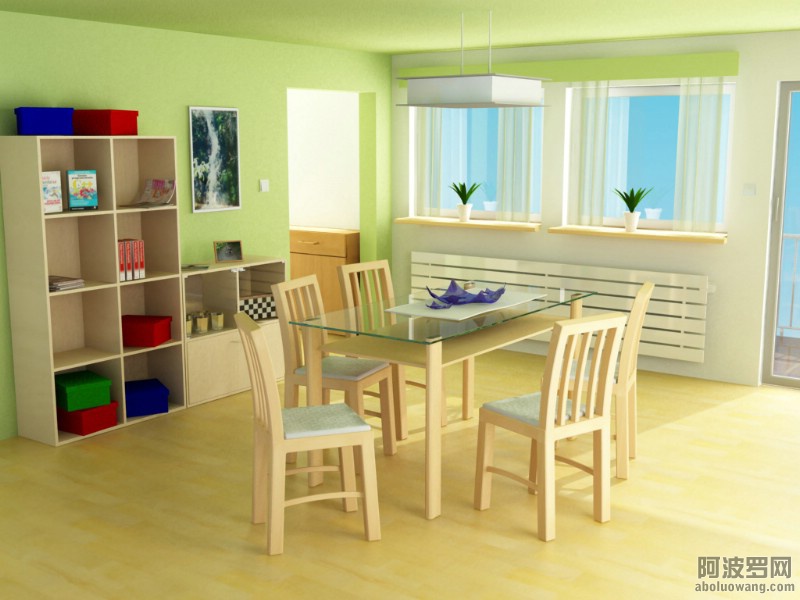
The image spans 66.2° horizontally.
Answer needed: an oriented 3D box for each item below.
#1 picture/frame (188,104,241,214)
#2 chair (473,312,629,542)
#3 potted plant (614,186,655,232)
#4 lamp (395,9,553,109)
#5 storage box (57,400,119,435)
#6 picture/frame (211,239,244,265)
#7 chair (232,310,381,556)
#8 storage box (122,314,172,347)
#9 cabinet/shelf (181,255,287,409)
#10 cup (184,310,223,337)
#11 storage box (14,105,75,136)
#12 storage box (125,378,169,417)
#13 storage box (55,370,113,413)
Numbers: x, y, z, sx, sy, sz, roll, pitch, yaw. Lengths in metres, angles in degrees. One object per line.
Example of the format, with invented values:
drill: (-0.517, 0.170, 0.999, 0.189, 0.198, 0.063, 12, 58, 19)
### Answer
picture/frame: (-1.620, -1.226, 5.359, 0.109, 0.873, 0.533, 8, 15, 31)
chair: (0.877, 0.630, 3.435, 0.743, 1.167, 0.602, -10, 16, -36)
potted plant: (2.199, -0.887, 5.957, 0.425, 0.408, 0.424, 6, 14, 29)
lamp: (0.470, -1.359, 3.892, 0.948, 0.677, 0.934, 1, 7, 12)
storage box: (-2.294, 0.878, 4.521, 0.269, 0.162, 0.270, 8, 12, 40)
picture/frame: (-1.533, -0.423, 5.408, 0.023, 0.159, 0.234, 6, 10, 43)
chair: (-0.474, 0.652, 3.282, 0.700, 1.197, 0.601, -4, 14, -15)
storage box: (-1.961, 0.234, 4.780, 0.275, 0.163, 0.272, 4, 10, 22)
cabinet/shelf: (-1.373, 0.195, 5.325, 1.023, 0.851, 0.392, -10, 15, -5)
cup: (-1.645, 0.196, 5.151, 0.181, 0.086, 0.245, 9, 14, 34)
storage box: (-2.413, -1.212, 4.169, 0.233, 0.212, 0.432, 7, 11, 40)
storage box: (-2.028, 0.744, 4.875, 0.281, 0.165, 0.274, -6, 14, -28)
storage box: (-2.338, 0.646, 4.473, 0.301, 0.179, 0.306, 11, 16, 40)
